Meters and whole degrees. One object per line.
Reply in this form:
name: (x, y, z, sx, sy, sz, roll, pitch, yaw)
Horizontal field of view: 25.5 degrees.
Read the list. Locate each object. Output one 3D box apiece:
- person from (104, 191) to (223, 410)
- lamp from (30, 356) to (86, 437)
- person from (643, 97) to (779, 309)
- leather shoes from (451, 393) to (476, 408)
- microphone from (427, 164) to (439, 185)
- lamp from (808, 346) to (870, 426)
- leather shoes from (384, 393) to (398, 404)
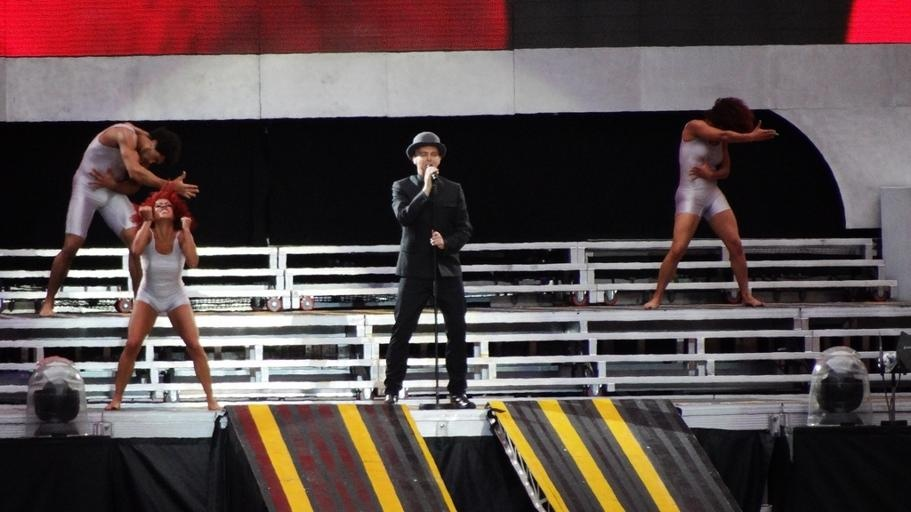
person: (-3.615, 0.514, 24.681, 1.270, 2.669, 0.512, 0, 2, -9)
lamp: (-4.883, 1.609, 24.656, 0.737, 0.811, 0.890, -1, -5, -6)
person: (3.250, -0.704, 26.169, 1.404, 2.738, 0.624, 0, 2, 5)
leather shoes: (0.064, 1.776, 24.736, 0.146, 0.103, 0.285, 5, -10, -44)
microphone: (-0.298, -1.025, 24.713, 0.096, 0.266, 0.095, -2, 5, 4)
lamp: (4.616, 1.564, 24.477, 0.708, 0.887, 0.350, 0, 2, 9)
leather shoes: (-0.805, 1.734, 24.634, 0.151, 0.101, 0.113, 2, -14, 2)
